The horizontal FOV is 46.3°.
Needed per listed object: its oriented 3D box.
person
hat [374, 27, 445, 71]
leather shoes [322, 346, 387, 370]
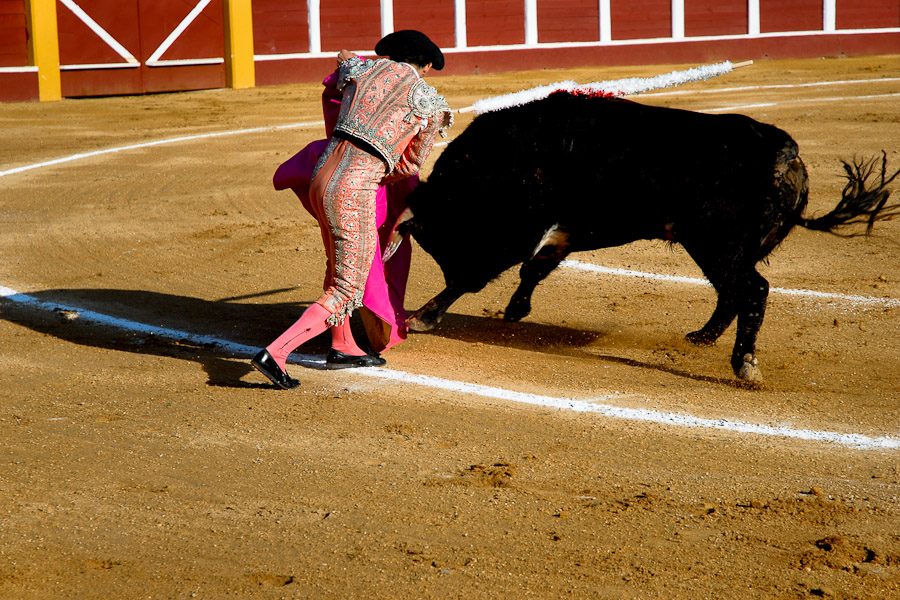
[{"bbox_3d":[-0.448,-0.429,4.967,0.915,1.657,0.457,-1,9,-9],"label":"person"},{"bbox_3d":[-0.193,-1.177,4.901,0.313,0.183,0.198,0,8,-4],"label":"hat"},{"bbox_3d":[-0.479,0.287,5.251,0.306,0.085,0.099,-2,11,-16],"label":"leather shoes"}]
